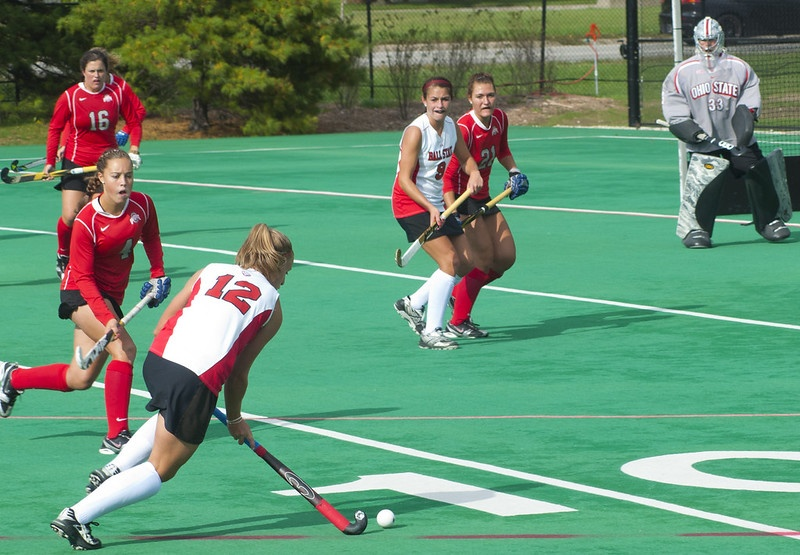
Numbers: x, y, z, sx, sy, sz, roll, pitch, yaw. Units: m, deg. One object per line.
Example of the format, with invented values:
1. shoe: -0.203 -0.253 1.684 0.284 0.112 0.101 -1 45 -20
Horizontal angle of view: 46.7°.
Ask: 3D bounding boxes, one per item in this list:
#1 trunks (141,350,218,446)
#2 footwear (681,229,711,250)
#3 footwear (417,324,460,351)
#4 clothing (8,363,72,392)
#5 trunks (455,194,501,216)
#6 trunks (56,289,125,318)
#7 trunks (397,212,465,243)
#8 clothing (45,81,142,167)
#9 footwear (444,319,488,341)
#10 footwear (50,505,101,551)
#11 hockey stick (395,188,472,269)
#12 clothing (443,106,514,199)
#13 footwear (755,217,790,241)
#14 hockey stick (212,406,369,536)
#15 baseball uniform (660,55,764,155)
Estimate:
1. trunks: -1.238 0.659 5.028 0.427 0.489 0.206 0 7 21
2. footwear: 3.908 -0.509 12.194 0.352 0.258 0.179 -1 7 5
3. footwear: 0.342 0.557 8.557 0.406 0.135 0.165 0 4 -1
4. clothing: -2.528 0.712 6.534 0.422 0.180 0.140 3 49 3
5. trunks: 0.709 -0.681 8.963 0.294 0.084 0.261 5 25 24
6. trunks: -2.231 0.195 6.660 0.350 0.191 0.250 -6 6 -25
7. trunks: 0.271 -0.471 8.605 0.409 0.356 0.112 -21 48 12
8. clothing: -3.716 -1.853 11.210 1.354 0.841 0.558 -12 27 -38
9. footwear: 0.623 0.499 8.856 0.470 0.156 0.156 2 -2 7
10. footwear: -1.708 1.318 4.885 0.240 0.262 0.166 -4 7 -17
11. hockey stick: 0.323 -0.457 8.456 1.266 0.174 0.263 -42 6 43
12. clothing: 0.711 -1.193 9.063 0.440 0.793 1.144 23 29 34
13. footwear: 4.995 -0.631 12.449 0.243 0.161 0.451 -25 12 -10
14. hockey stick: -0.645 1.033 5.076 0.220 1.321 0.098 -46 26 -2
15. baseball uniform: 4.081 -2.304 12.223 1.554 1.157 0.762 -9 20 -18
